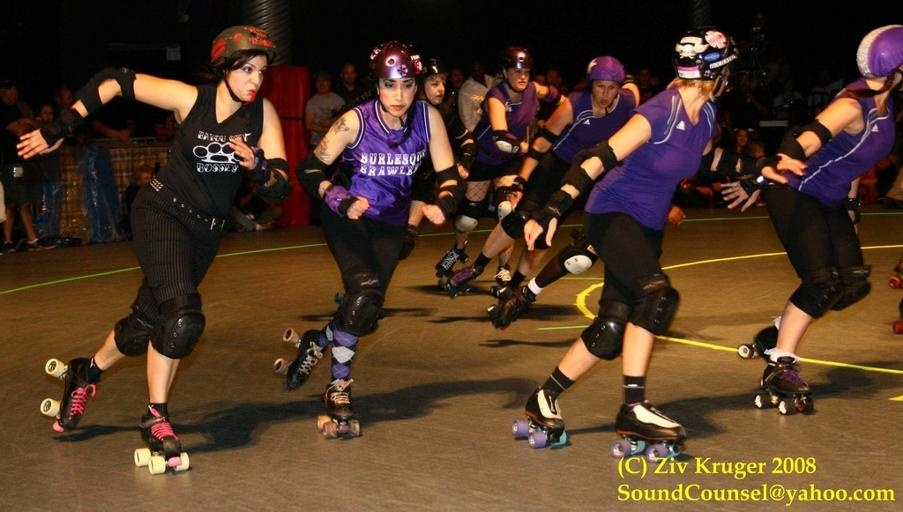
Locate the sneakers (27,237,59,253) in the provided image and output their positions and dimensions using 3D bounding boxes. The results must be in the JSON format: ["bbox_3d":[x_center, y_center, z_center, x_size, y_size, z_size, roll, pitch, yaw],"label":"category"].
[{"bbox_3d":[-6.745,-0.157,11.072,0.479,0.161,0.185,-5,8,-19],"label":"sneakers"}]

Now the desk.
[{"bbox_3d":[-6.059,-1.103,12.002,2.051,1.421,1.950,2,5,24],"label":"desk"}]

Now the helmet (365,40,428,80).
[{"bbox_3d":[-0.394,-1.368,4.732,0.329,0.242,0.330,-3,21,-17],"label":"helmet"}]

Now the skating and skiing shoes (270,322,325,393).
[{"bbox_3d":[-1.314,0.886,5.696,0.265,0.193,0.562,-10,40,26],"label":"skating and skiing shoes"}]

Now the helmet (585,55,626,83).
[{"bbox_3d":[1.601,-1.943,7.118,0.321,0.289,0.384,-7,35,-33],"label":"helmet"}]

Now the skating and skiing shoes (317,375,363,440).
[{"bbox_3d":[-0.797,1.100,4.717,0.265,0.258,0.463,1,3,-9],"label":"skating and skiing shoes"}]

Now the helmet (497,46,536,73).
[{"bbox_3d":[0.758,-2.278,7.929,0.276,0.274,0.337,-2,-1,-35],"label":"helmet"}]
